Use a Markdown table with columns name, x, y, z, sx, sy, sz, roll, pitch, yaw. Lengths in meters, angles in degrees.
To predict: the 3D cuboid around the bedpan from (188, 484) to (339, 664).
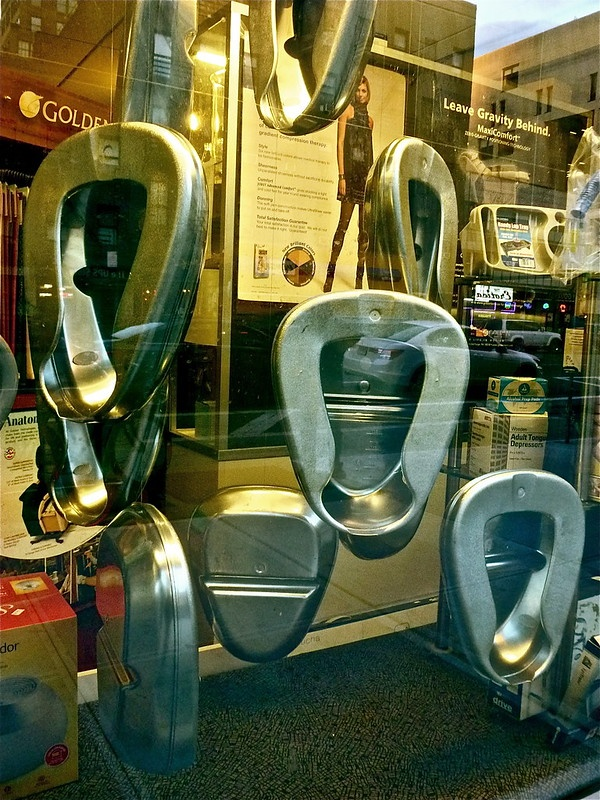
| name | x | y | z | sx | sy | sz | roll | pitch | yaw |
| --- | --- | --- | --- | --- | --- | --- | --- | --- | --- |
| bedpan | -0.057 | 0.258 | 1.007 | 0.216 | 0.290 | 0.113 | 1 | 18 | -4 |

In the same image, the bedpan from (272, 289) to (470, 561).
| name | x | y | z | sx | sy | sz | roll | pitch | yaw |
| --- | --- | --- | --- | --- | --- | --- | --- | --- | --- |
| bedpan | 0.104 | 0.021 | 0.905 | 0.308 | 0.329 | 0.078 | -6 | 14 | -37 |

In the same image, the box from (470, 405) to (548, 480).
| name | x | y | z | sx | sy | sz | roll | pitch | yaw |
| --- | --- | --- | --- | --- | --- | --- | --- | --- | --- |
| box | 0.378 | 0.068 | 1.208 | 0.114 | 0.117 | 0.065 | 2 | 21 | 9 |

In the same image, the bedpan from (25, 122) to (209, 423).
| name | x | y | z | sx | sy | sz | roll | pitch | yaw |
| --- | --- | --- | --- | --- | --- | --- | --- | --- | --- |
| bedpan | -0.205 | -0.137 | 0.732 | 0.179 | 0.318 | 0.046 | 2 | 11 | -1 |

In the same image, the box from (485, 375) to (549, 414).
| name | x | y | z | sx | sy | sz | roll | pitch | yaw |
| --- | --- | --- | --- | --- | --- | --- | --- | --- | --- |
| box | 0.366 | -0.022 | 1.188 | 0.114 | 0.066 | 0.074 | -2 | 13 | -23 |

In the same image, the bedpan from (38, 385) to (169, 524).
| name | x | y | z | sx | sy | sz | roll | pitch | yaw |
| --- | --- | --- | --- | --- | --- | --- | --- | --- | --- |
| bedpan | -0.236 | 0.060 | 0.786 | 0.123 | 0.180 | 0.070 | 8 | 14 | 5 |

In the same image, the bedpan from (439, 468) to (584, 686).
| name | x | y | z | sx | sy | sz | roll | pitch | yaw |
| --- | --- | --- | --- | --- | --- | --- | --- | --- | --- |
| bedpan | 0.362 | 0.308 | 1.144 | 0.306 | 0.371 | 0.074 | -3 | 12 | -24 |
